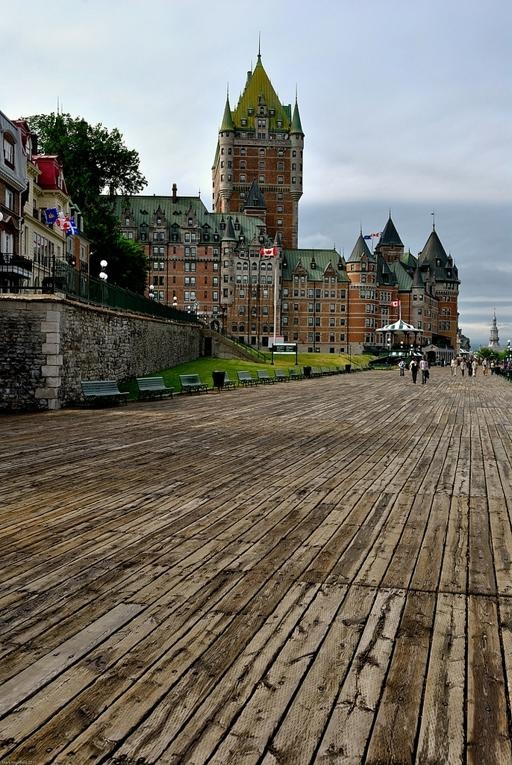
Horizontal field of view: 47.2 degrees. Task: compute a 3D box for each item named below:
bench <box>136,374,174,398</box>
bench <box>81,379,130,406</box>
[{"bbox_3d":[-3.747,0.319,21.929,0.787,0.783,2.147,3,4,12],"label":"bench"},{"bbox_3d":[-4.784,0.430,18.781,0.803,0.804,2.041,3,4,17],"label":"bench"}]
